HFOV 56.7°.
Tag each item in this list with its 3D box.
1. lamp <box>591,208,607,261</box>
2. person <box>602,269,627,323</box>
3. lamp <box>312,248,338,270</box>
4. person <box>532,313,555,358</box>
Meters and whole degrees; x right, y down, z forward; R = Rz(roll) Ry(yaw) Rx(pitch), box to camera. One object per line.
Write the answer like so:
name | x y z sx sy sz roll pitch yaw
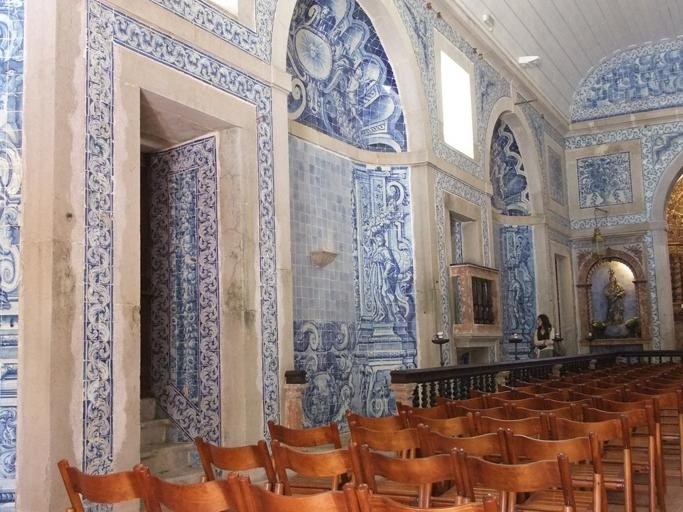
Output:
lamp | 7.611 -0.753 18.634 0.465 1.683 1.519 -6 -10 23
person | 8.149 1.177 18.879 0.466 1.707 0.428 2 -10 -29
lamp | -0.286 0.049 10.005 0.299 0.236 0.394 -7 -10 24
person | 4.275 1.684 13.402 0.418 0.926 1.942 -5 -10 17
